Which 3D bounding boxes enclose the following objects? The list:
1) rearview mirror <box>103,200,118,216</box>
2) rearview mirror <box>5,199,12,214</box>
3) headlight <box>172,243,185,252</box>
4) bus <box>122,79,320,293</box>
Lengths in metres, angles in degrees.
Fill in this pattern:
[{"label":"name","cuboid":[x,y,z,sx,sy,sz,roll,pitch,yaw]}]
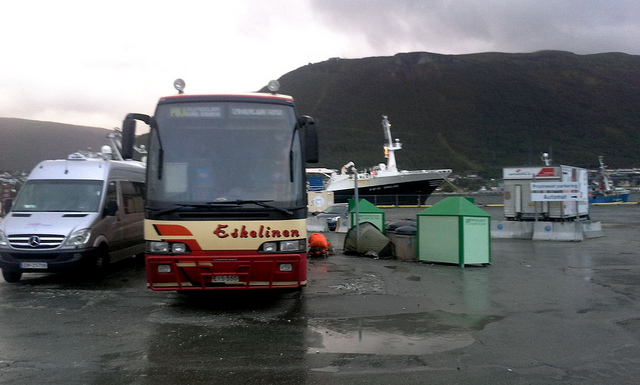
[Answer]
[{"label":"rearview mirror","cuboid":[-5.838,0.439,13.527,0.376,0.449,0.261,-2,6,-17]},{"label":"rearview mirror","cuboid":[-8.585,0.362,13.399,0.175,0.362,0.383,-4,7,-32]},{"label":"headlight","cuboid":[-2.909,1.129,10.013,0.239,0.173,0.049,0,1,-6]},{"label":"bus","cuboid":[-2.076,0.016,12.865,3.602,3.212,5.714,-1,-3,-3]}]
